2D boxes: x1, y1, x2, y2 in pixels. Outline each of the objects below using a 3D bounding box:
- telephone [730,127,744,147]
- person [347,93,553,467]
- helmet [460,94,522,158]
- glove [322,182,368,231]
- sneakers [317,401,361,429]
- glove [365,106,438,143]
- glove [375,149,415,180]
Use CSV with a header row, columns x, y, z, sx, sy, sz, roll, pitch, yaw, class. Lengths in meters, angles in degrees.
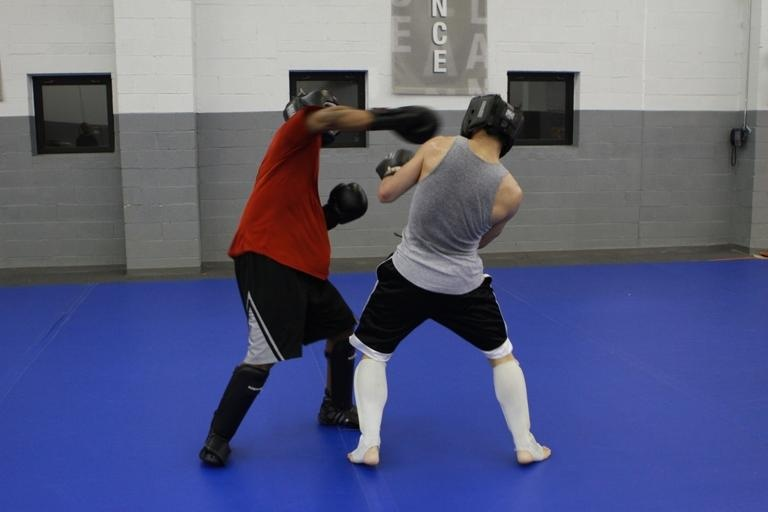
x,y,z,sx,sy,sz,roll,pitch,yaw,class
4.383,-1.467,7.921,0.207,0.236,0.172,-2,6,0,telephone
0.368,0.151,3.738,1.131,2.144,0.444,1,12,-2,person
0.628,-0.760,3.729,0.357,0.358,0.218,3,12,8,helmet
-0.262,-0.350,4.161,0.316,0.308,0.234,-8,25,-13,glove
-0.286,1.022,4.106,0.323,0.211,0.116,-2,-1,-2,sneakers
0.110,-0.743,3.628,0.324,0.219,0.127,-7,-2,-17,glove
0.048,-0.568,3.837,0.218,0.114,0.168,-31,-13,19,glove
